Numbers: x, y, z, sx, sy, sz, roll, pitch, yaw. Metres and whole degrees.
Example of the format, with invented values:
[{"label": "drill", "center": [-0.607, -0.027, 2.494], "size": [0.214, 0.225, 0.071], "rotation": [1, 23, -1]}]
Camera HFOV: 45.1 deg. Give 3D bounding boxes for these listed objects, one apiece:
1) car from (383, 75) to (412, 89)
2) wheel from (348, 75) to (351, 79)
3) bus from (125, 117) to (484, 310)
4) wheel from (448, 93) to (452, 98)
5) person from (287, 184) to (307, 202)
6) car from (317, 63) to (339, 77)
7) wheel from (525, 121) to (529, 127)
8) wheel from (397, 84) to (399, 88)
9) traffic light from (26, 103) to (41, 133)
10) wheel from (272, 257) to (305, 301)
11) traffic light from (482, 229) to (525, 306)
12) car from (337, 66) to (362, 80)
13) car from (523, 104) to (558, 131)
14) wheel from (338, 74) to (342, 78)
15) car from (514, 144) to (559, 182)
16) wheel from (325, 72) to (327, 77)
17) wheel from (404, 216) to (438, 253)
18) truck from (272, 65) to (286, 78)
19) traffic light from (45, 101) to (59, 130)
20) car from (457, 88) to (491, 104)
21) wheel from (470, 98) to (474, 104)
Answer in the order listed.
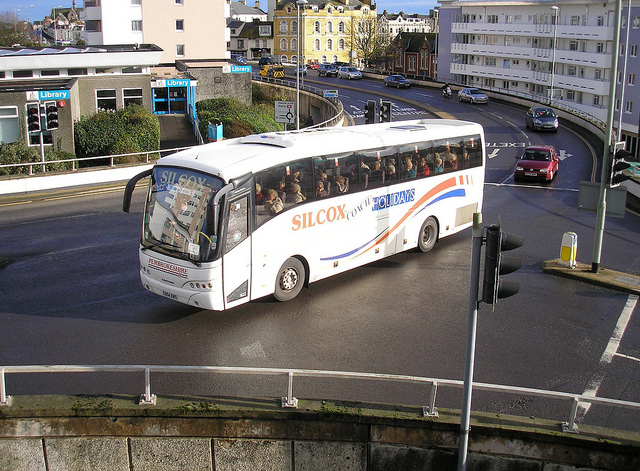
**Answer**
[{"label": "car", "center": [7.808, -15.877, 79.988], "size": [1.230, 0.981, 2.578], "rotation": [-11, 18, -22]}, {"label": "wheel", "center": [3.316, -17.974, 87.797], "size": [0.286, 0.478, 0.503], "rotation": [-1, 17, 2]}, {"label": "bus", "center": [0.296, -1.084, 24.096], "size": [12.666, 4.615, 2.875], "rotation": [-17, 22, -39]}, {"label": "wheel", "center": [11.949, -12.890, 71.115], "size": [0.103, 0.493, 1.054], "rotation": [6, 19, 25]}, {"label": "person", "center": [-0.665, -1.178, 21.505], "size": [0.681, 0.488, 0.107], "rotation": [-17, 22, -41]}, {"label": "car", "center": [0.938, -19.566, 91.643], "size": [1.115, 1.164, 2.598], "rotation": [-11, 18, -30]}, {"label": "wheel", "center": [14.622, -7.882, 54.784], "size": [0.083, 0.361, 0.335], "rotation": [10, 6, 21]}, {"label": "wheel", "center": [8.021, -15.333, 79.450], "size": [0.149, 0.373, 0.451], "rotation": [-2, 17, -1]}, {"label": "traffic light", "center": [-12.499, -5.050, 33.656], "size": [0.488, 1.142, 1.230], "rotation": [-6, 18, -16]}, {"label": "wheel", "center": [-0.882, 1.193, 21.845], "size": [1.121, 1.258, 0.221], "rotation": [-17, 22, -42]}, {"label": "traffic light", "center": [3.498, 0.651, 14.992], "size": [0.748, 1.627, 0.456], "rotation": [-6, 16, -16]}, {"label": "car", "center": [3.208, -18.550, 88.356], "size": [1.392, 1.316, 2.471], "rotation": [-12, 14, -34]}, {"label": "car", "center": [15.159, -7.810, 53.090], "size": [1.699, 1.247, 3.334], "rotation": [0, 18, 5]}, {"label": "wheel", "center": [2.316, -18.338, 89.182], "size": [0.265, 0.495, 0.775], "rotation": [-6, 18, -15]}, {"label": "car", "center": [10.651, -3.482, 37.837], "size": [1.261, 1.023, 2.374], "rotation": [6, 17, 25]}, {"label": "wheel", "center": [0.684, -19.089, 91.785], "size": [0.226, 0.472, 0.467], "rotation": [-4, 17, -10]}, {"label": "wheel", "center": [3.395, -0.013, 26.056], "size": [0.226, 1.052, 0.909], "rotation": [5, 8, 41]}, {"label": "truck", "center": [-4.760, -18.576, 87.842], "size": [0.930, 1.301, 3.967], "rotation": [1, 13, 4]}, {"label": "traffic light", "center": [-11.898, -5.203, 34.201], "size": [0.454, 1.080, 1.006], "rotation": [-7, 18, -21]}, {"label": "car", "center": [13.490, -12.195, 67.998], "size": [1.923, 1.077, 3.178], "rotation": [-5, 19, -10]}, {"label": "wheel", "center": [13.163, -11.687, 67.210], "size": [0.179, 0.491, 0.467], "rotation": [-6, 17, -15]}]
